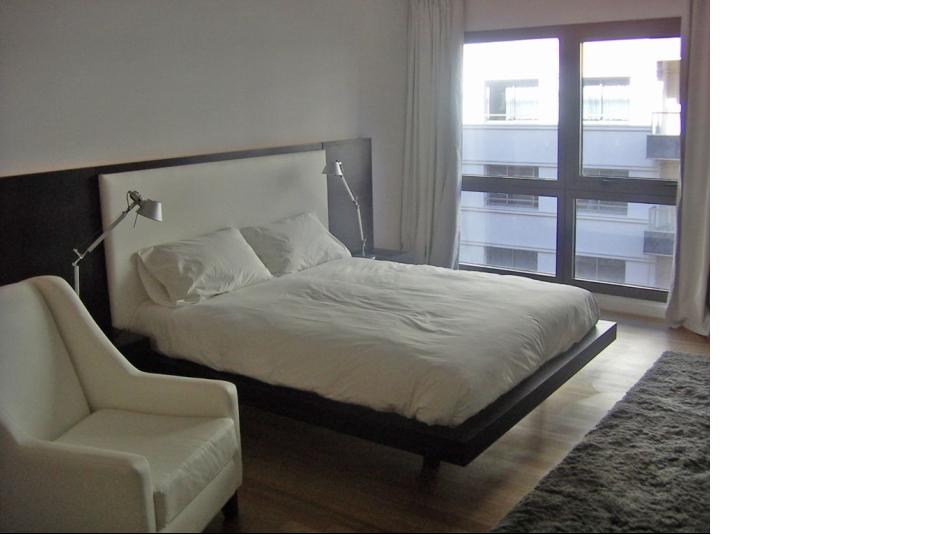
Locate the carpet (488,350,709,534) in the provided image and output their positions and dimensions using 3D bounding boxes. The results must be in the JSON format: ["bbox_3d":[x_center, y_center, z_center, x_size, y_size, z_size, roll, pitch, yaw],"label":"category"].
[{"bbox_3d":[0.920,1.075,3.561,0.580,0.027,1.556,10,20,25],"label":"carpet"}]

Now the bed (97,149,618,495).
[{"bbox_3d":[-0.832,0.130,4.044,2.915,1.263,2.020,9,19,28],"label":"bed"}]
